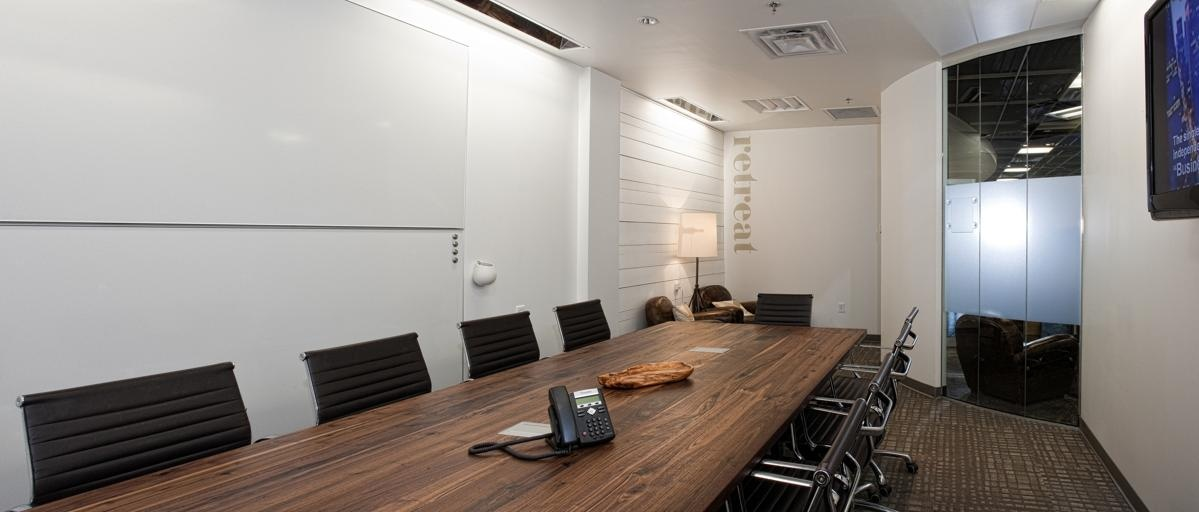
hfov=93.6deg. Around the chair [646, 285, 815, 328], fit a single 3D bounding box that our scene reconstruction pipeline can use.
[{"bbox_3d":[2.439,0.893,9.863,2.463,0.875,0.987,-4,21,-39],"label":"chair"}]
